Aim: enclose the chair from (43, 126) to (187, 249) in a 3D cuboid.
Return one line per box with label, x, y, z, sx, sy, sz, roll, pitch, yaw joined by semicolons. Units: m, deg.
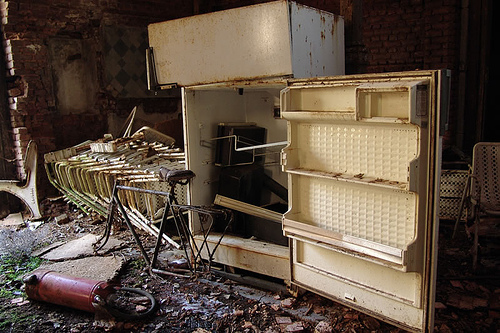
chair;-2.316;0.067;6.782;2.607;0.796;1.795;20;25;30
